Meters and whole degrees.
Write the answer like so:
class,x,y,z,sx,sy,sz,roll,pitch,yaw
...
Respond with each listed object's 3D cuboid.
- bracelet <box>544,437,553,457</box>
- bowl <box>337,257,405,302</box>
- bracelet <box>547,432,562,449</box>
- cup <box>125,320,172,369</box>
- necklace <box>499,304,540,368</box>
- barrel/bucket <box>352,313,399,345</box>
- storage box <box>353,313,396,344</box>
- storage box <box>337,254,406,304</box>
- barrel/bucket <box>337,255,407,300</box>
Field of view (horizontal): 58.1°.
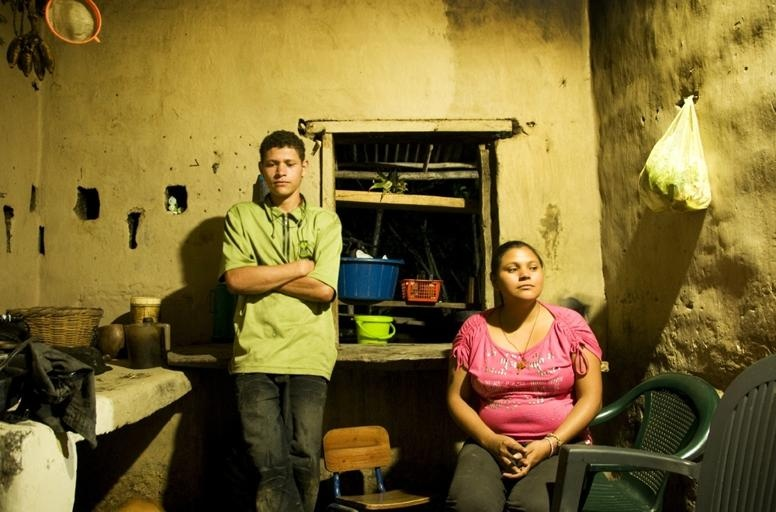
class,x,y,z,sx,sy,sz,roll,pitch,yaw
bracelet,0.940,1.114,4.064,0.074,0.099,0.048,6,-5,-6
bowl,-0.153,0.180,5.481,0.533,0.300,0.557,1,-2,0
bracelet,0.966,1.078,4.073,0.087,0.066,0.048,19,0,14
cup,-1.623,0.601,4.803,0.351,0.355,0.225,2,3,33
necklace,0.844,0.514,4.349,0.127,0.480,0.117,4,-35,12
barrel/bucket,-0.087,0.541,5.223,0.235,0.152,0.233,4,-4,0
storage box,-0.108,0.550,5.231,0.300,0.213,0.168,1,1,-7
storage box,-0.163,0.197,5.508,0.592,0.317,0.584,8,-7,-18
barrel/bucket,-0.141,0.190,5.307,0.369,0.213,0.368,0,-6,0
